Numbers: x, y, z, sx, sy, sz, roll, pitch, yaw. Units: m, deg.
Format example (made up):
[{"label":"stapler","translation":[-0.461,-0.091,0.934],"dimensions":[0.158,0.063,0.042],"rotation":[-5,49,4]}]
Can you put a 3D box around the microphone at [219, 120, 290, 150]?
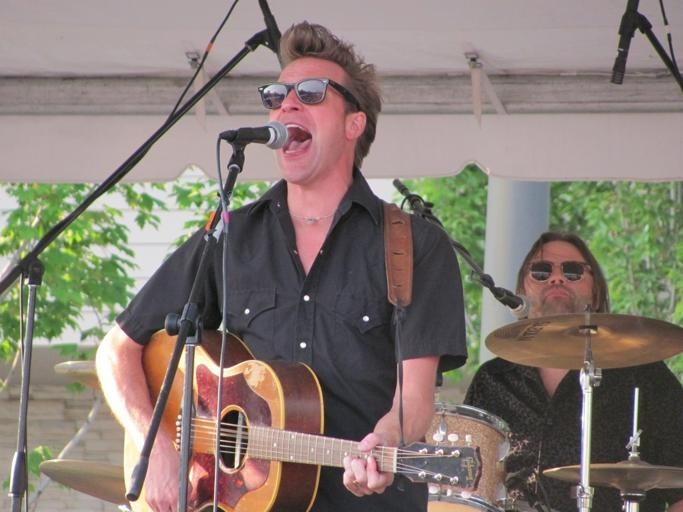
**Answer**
[{"label":"microphone","translation":[-0.497,-0.717,10.964],"dimensions":[0.447,0.171,0.153],"rotation":[-7,6,-37]}]

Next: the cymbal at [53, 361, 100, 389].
[{"label":"cymbal","translation":[-1.904,0.812,13.128],"dimensions":[0.323,0.099,0.331],"rotation":[0,-10,20]}]

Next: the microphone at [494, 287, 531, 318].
[{"label":"microphone","translation":[1.089,0.264,11.684],"dimensions":[0.212,0.177,0.295],"rotation":[-5,-16,29]}]

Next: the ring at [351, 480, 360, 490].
[{"label":"ring","translation":[0.086,1.323,10.861],"dimensions":[0.041,0.035,0.046],"rotation":[3,-14,0]}]

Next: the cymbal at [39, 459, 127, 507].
[{"label":"cymbal","translation":[-1.773,1.531,12.869],"dimensions":[0.843,0.265,0.118],"rotation":[9,-1,-8]}]
